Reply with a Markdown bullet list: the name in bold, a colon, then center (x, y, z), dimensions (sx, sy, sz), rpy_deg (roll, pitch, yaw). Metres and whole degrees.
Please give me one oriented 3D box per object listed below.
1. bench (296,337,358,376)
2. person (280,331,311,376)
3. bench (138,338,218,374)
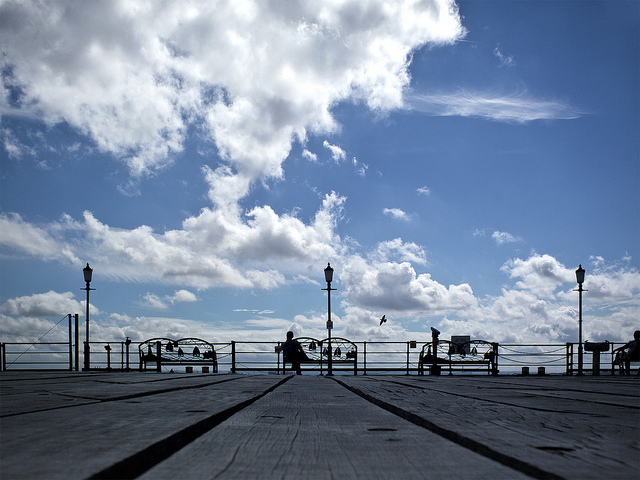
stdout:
- **bench**: center (0.126, 3.215, 15.835), dimensions (1.683, 1.010, 0.628), rpy_deg (5, -4, -11)
- **person**: center (-0.673, 2.907, 14.984), dimensions (0.722, 1.070, 1.872), rpy_deg (2, -12, -1)
- **bench**: center (-3.940, 3.203, 15.999), dimensions (2.019, 1.073, 0.709), rpy_deg (4, -5, -18)
